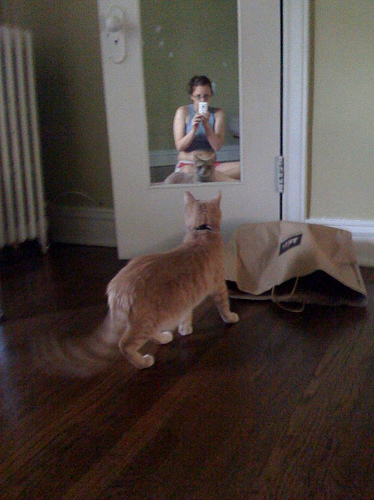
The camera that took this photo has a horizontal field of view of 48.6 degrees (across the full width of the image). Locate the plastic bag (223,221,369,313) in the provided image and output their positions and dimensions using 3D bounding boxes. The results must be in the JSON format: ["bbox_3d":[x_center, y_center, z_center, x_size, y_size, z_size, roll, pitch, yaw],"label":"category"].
[{"bbox_3d":[0.338,0.040,1.317,0.443,0.239,0.270,-1,14,8],"label":"plastic bag"}]

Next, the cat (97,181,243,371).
[{"bbox_3d":[-0.045,0.072,0.997,0.502,0.335,0.150,-23,20,-40],"label":"cat"}]
